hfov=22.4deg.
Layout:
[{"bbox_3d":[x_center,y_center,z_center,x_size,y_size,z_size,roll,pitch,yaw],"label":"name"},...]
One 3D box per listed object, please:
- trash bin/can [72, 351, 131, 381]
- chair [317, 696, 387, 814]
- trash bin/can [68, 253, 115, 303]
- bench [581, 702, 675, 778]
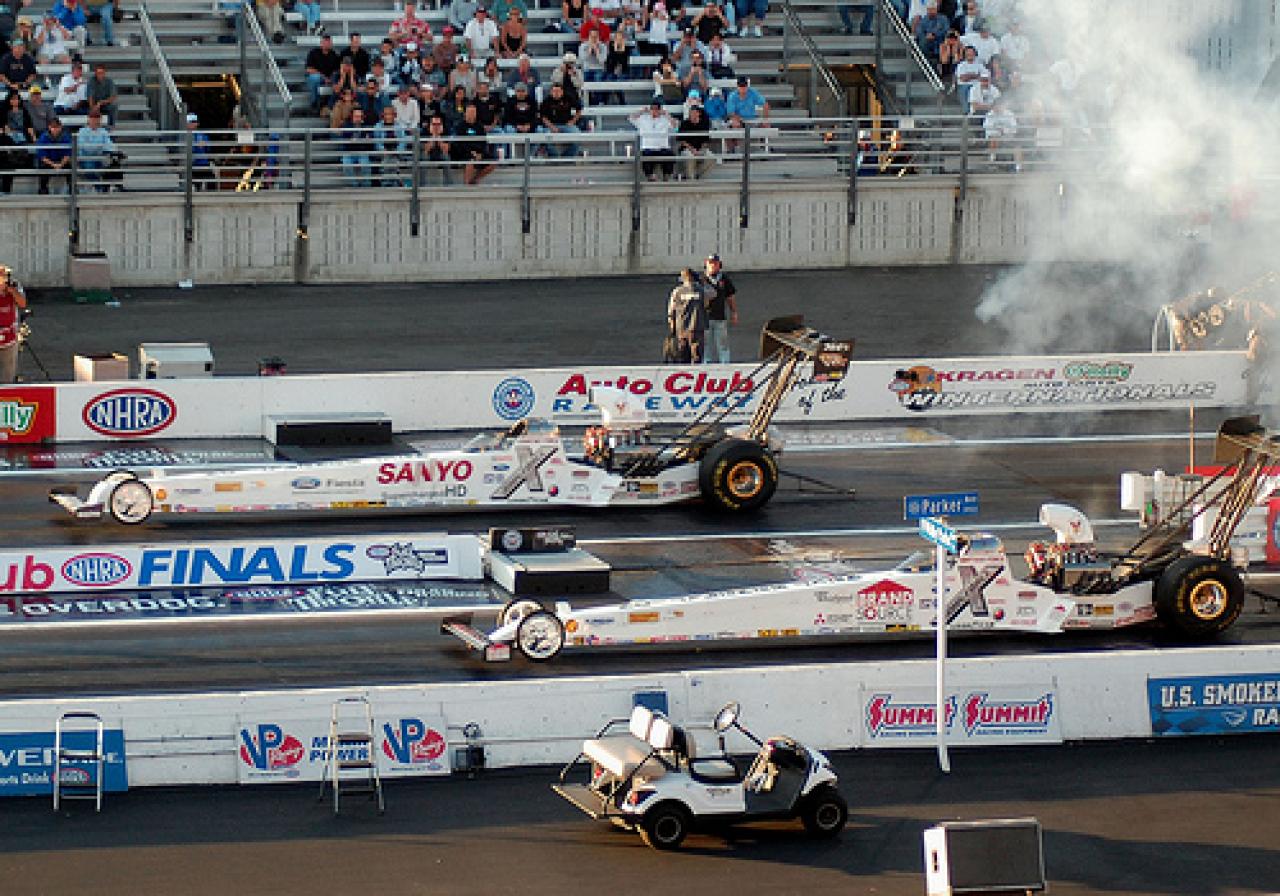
[{"bbox_3d":[-8.855,-1.353,53.563,0.613,0.345,0.590,1,1,-14],"label":"trash bin/can"},{"bbox_3d":[-3.742,3.961,42.387,0.787,1.344,0.684,-3,8,-6],"label":"chair"},{"bbox_3d":[-10.242,-3.200,60.211,0.880,0.842,0.899,-1,7,-35],"label":"trash bin/can"},{"bbox_3d":[-0.115,3.863,42.009,0.872,0.635,1.125,-6,17,-27],"label":"bench"}]
